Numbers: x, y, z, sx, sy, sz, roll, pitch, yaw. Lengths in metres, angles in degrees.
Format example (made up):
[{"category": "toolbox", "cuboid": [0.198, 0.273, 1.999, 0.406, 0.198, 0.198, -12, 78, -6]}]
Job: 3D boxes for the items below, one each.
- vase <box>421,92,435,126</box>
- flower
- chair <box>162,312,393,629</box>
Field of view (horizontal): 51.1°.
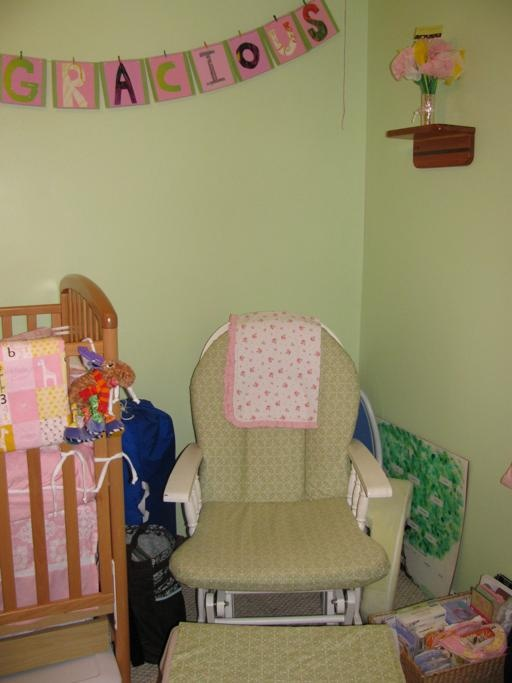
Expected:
[{"category": "vase", "cuboid": [0.538, -0.724, 1.678, 0.042, 0.102, 0.092, 7, 16, 14]}, {"category": "flower", "cuboid": [0.547, -0.818, 1.666, 0.129, 0.109, 0.115, 2, 10, -11]}, {"category": "chair", "cuboid": [0.065, 0.276, 1.561, 0.611, 0.586, 0.651, 2, 15, -2]}]
